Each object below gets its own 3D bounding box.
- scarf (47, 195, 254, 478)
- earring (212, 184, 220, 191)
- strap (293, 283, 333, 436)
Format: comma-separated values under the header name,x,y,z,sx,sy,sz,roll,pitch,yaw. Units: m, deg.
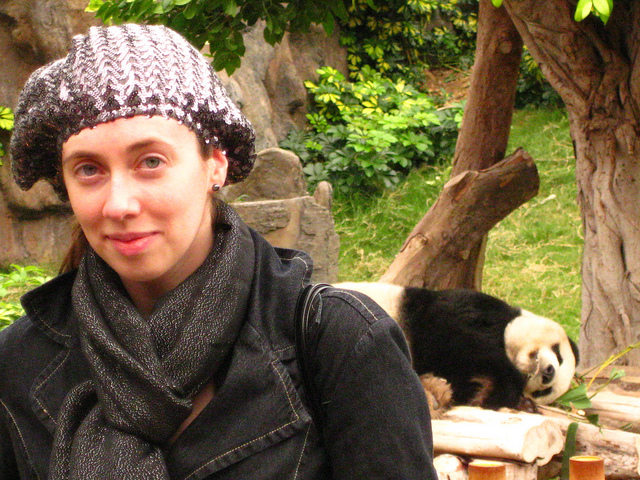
name,x,y,z,sx,sy,sz,roll,pitch,yaw
scarf,-0.587,0.338,3.115,0.626,0.658,0.405,7,4,-15
earring,-0.382,-0.187,3.155,0.025,0.016,0.016,8,3,-9
strap,-0.031,0.402,3.078,0.139,0.446,0.144,10,25,9
